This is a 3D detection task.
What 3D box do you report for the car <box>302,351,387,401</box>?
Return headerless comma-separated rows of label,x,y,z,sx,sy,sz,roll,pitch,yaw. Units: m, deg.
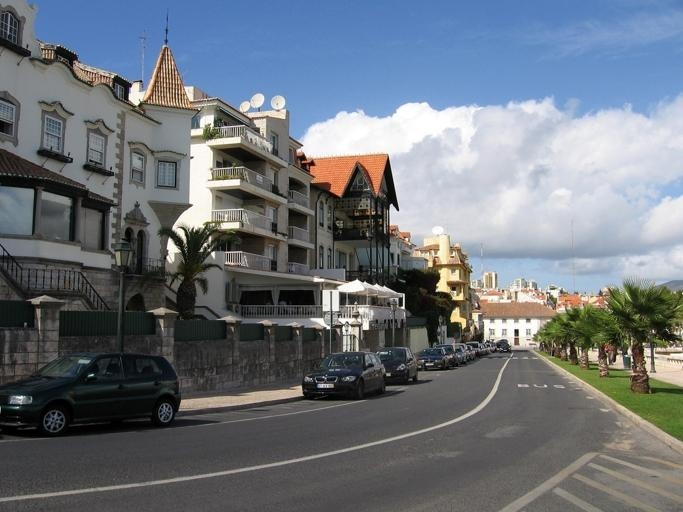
car,0.225,4.637,28.790,1.938,1.809,3.580,-8,-11,37
